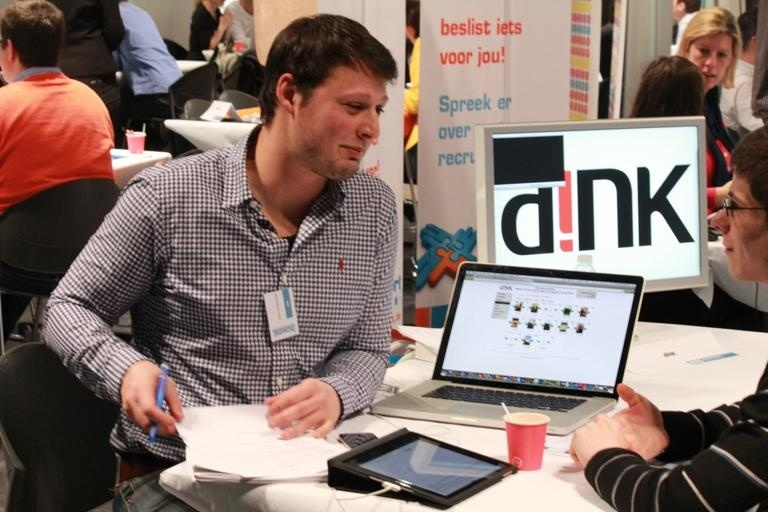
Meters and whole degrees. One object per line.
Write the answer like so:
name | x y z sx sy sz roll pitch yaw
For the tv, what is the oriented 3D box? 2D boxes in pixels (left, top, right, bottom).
tv | 0.704 -0.177 2.189 0.591 0.432 0.064 -1 5 -10

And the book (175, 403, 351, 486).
book | -0.325 0.463 1.565 0.214 0.058 0.215 2 23 -31

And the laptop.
laptop | 0.447 0.114 1.891 0.559 0.365 0.535 7 10 28

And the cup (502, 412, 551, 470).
cup | 0.344 0.438 1.608 0.127 0.132 0.129 -1 8 0

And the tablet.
tablet | 0.079 0.494 1.509 0.212 0.061 0.208 17 18 27
